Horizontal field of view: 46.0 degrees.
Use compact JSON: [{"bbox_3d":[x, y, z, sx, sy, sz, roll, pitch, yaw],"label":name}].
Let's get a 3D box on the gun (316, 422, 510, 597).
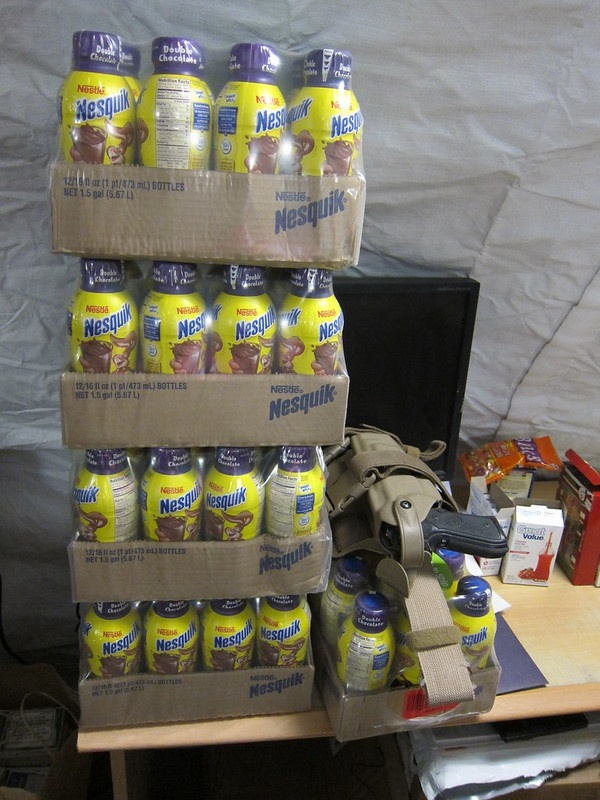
[{"bbox_3d":[0.154,0.134,1.083,0.206,0.118,0.249,-12,38,-30],"label":"gun"}]
